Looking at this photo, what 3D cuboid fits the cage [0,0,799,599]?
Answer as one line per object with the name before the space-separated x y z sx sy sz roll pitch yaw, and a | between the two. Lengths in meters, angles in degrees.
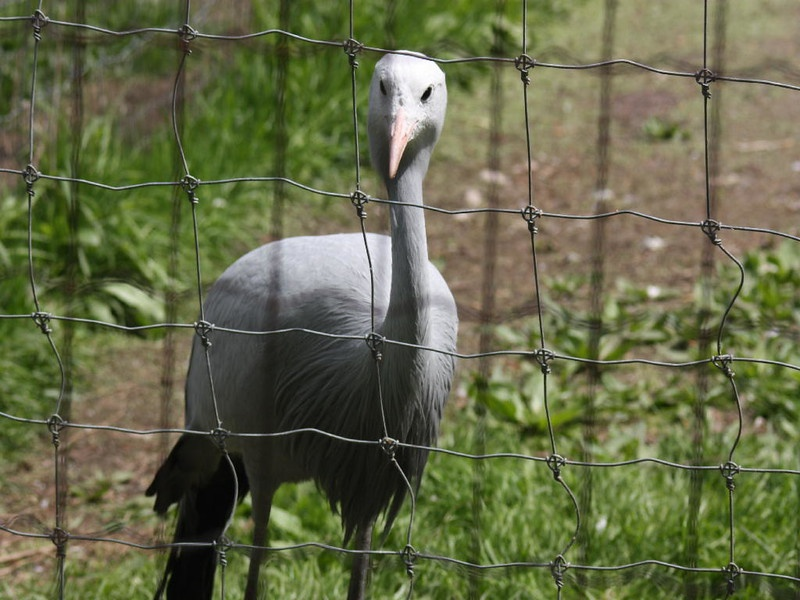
cage | -0.059 0.088 8.630 2.941 3.364 1.967 2 9 10
